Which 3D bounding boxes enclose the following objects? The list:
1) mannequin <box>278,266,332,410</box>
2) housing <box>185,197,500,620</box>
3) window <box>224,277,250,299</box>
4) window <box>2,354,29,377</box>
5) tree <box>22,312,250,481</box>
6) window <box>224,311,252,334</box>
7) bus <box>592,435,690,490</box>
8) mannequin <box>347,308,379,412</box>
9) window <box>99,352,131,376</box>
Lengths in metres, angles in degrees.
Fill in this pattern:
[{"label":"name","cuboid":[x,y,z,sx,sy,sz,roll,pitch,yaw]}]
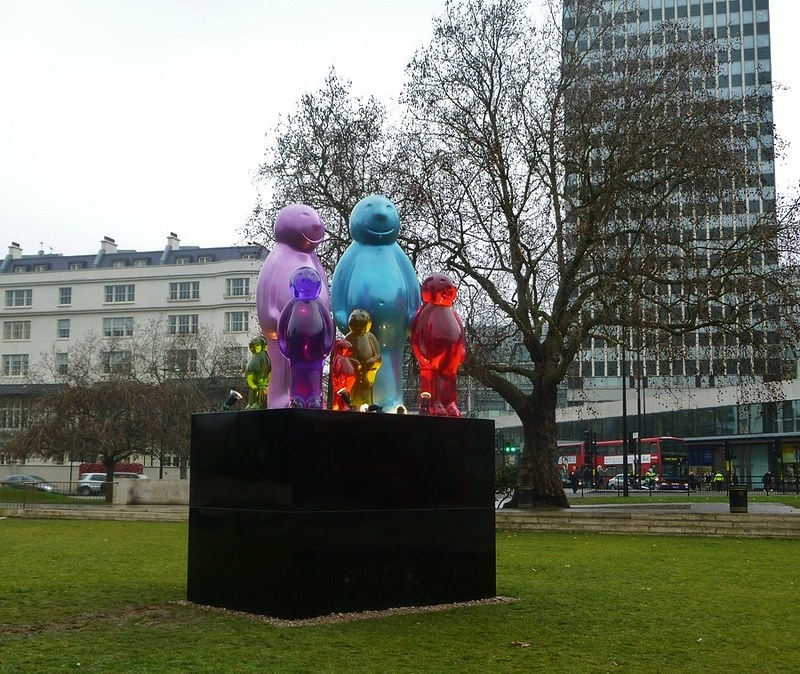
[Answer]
[{"label":"mannequin","cuboid":[-1.444,0.015,17.386,0.878,1.955,0.639,-6,2,-5]},{"label":"housing","cuboid":[-0.951,0.992,18.366,3.840,6.686,2.979,1,4,-37]},{"label":"window","cuboid":[-11.614,-3.529,80.402,1.834,1.885,0.193,-2,-2,29]},{"label":"window","cuboid":[-29.223,2.171,85.454,1.399,1.565,0.152,-2,-22,-5]},{"label":"tree","cuboid":[-12.454,2.694,53.501,7.611,7.663,7.435,2,-15,-16]},{"label":"window","cuboid":[-11.208,-0.993,78.125,1.255,1.301,0.131,-5,-7,25]},{"label":"bus","cuboid":[13.562,6.683,63.711,2.653,3.587,7.465,6,-9,-26]},{"label":"mannequin","cuboid":[-0.617,0.380,17.888,0.550,1.714,0.460,2,21,3]},{"label":"window","cuboid":[-15.357,1.387,60.596,1.288,1.124,0.781,1,-12,-12]}]
